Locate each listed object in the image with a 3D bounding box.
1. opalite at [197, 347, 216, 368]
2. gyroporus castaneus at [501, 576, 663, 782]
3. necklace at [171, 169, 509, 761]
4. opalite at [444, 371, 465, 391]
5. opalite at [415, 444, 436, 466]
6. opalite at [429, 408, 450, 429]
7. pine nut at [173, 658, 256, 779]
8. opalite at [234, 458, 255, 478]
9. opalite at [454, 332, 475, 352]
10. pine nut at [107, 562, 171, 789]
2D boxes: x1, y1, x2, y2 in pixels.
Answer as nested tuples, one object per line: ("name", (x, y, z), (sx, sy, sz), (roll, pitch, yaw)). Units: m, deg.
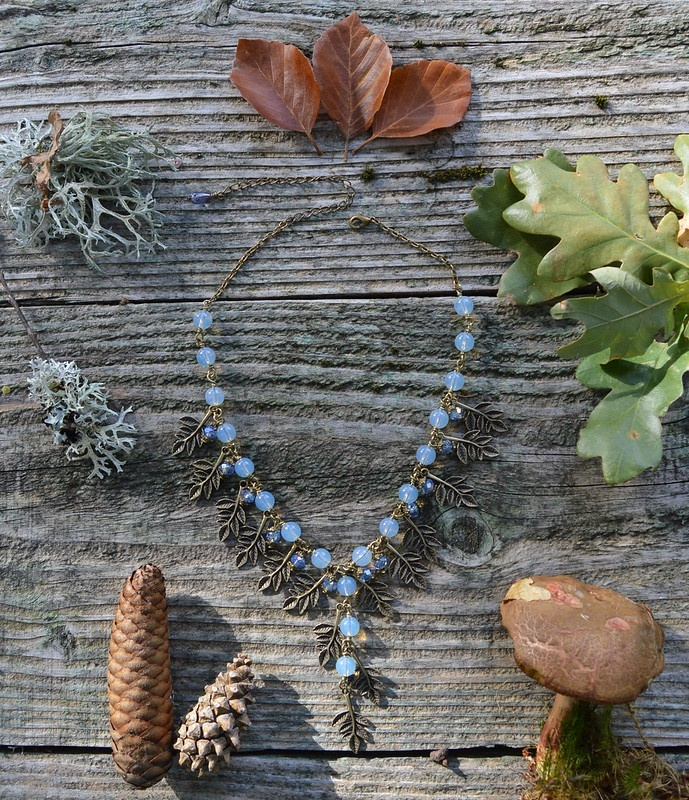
("opalite", (-0.337, -0.103, 4.228), (0.055, 0.026, 0.042), (-22, 85, 7))
("gyroporus castaneus", (0.580, 0.621, 3.980), (0.380, 0.303, 0.412), (-13, 109, -37))
("necklace", (0.003, 0.195, 4.182), (0.065, 0.973, 1.301), (-7, 85, 49))
("opalite", (0.270, -0.044, 4.192), (0.049, 0.041, 0.045), (6, 99, 5))
("opalite", (0.200, 0.136, 4.173), (0.062, 0.030, 0.043), (-3, 85, 3))
("opalite", (0.233, 0.049, 4.190), (0.052, 0.030, 0.045), (18, 94, 13))
("pine nut", (-0.289, 0.725, 3.969), (0.144, 0.162, 0.287), (21, 82, 3))
("opalite", (-0.241, 0.168, 4.184), (0.051, 0.030, 0.045), (-22, 93, 1))
("opalite", (0.295, -0.140, 4.202), (0.055, 0.032, 0.044), (1, 88, 6))
("pine nut", (-0.447, 0.644, 4.043), (0.198, 0.174, 0.503), (-2, 79, 17))
